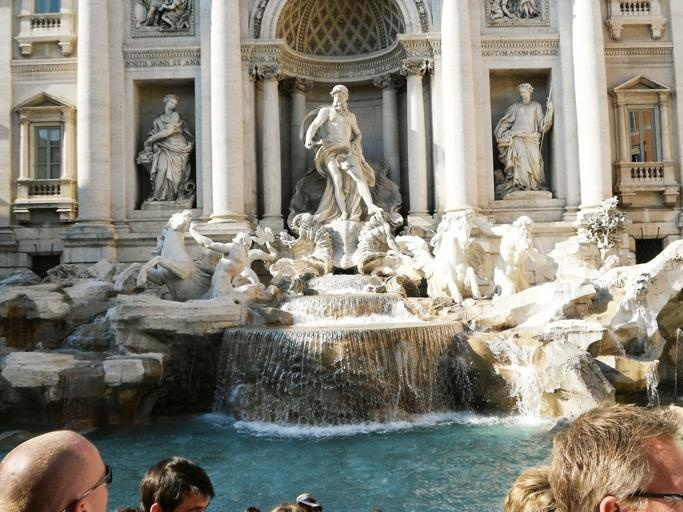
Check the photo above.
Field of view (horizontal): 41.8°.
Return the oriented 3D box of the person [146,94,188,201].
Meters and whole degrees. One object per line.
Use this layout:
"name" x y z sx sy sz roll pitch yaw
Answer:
"person" -4.984 -3.103 25.743 1.251 3.036 0.591 0 -3 -9
